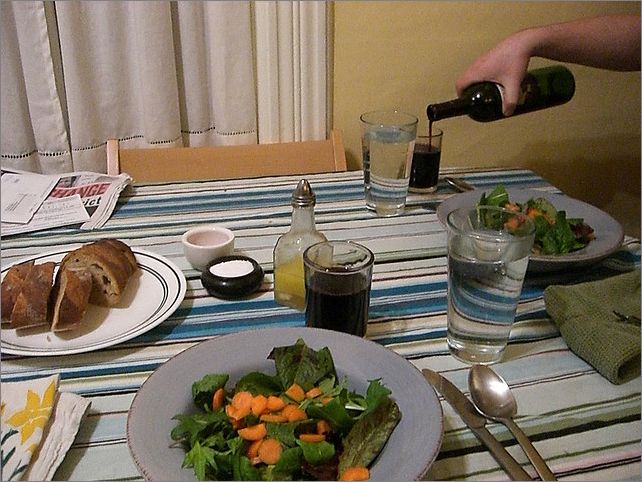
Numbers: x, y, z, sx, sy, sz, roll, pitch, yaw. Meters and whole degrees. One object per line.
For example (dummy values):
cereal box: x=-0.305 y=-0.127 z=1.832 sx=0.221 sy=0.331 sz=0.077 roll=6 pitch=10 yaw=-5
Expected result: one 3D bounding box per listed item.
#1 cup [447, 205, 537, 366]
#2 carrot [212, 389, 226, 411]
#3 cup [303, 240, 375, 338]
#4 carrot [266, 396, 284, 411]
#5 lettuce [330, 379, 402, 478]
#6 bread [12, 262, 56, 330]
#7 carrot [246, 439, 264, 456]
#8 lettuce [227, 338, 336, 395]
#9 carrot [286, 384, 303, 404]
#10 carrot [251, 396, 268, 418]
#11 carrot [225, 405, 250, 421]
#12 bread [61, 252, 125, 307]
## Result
cup: x=0.245 y=0.060 z=0.728 sx=0.115 sy=0.198 sz=0.156 roll=2 pitch=31 yaw=11
carrot: x=-0.122 y=0.193 z=0.591 sx=0.014 sy=0.007 sz=0.024 roll=24 pitch=65 yaw=-24
cup: x=0.028 y=0.077 z=0.734 sx=0.098 sy=0.139 sz=0.080 roll=-25 pitch=36 yaw=-31
carrot: x=-0.053 y=0.192 z=0.577 sx=0.022 sy=0.012 sz=0.017 roll=-9 pitch=31 yaw=-8
lettuce: x=0.053 y=0.215 z=0.541 sx=0.042 sy=0.051 sz=0.111 roll=14 pitch=35 yaw=28
bread: x=-0.453 y=0.087 z=0.771 sx=0.055 sy=0.058 sz=0.093 roll=-8 pitch=31 yaw=-7
carrot: x=-0.072 y=0.230 z=0.540 sx=0.005 sy=0.016 sz=0.016 roll=34 pitch=49 yaw=-26
lettuce: x=-0.033 y=0.162 z=0.614 sx=0.075 sy=0.032 sz=0.079 roll=-12 pitch=43 yaw=-21
carrot: x=-0.031 y=0.185 z=0.590 sx=0.017 sy=0.004 sz=0.017 roll=44 pitch=34 yaw=21
carrot: x=-0.071 y=0.193 z=0.569 sx=0.020 sy=0.010 sz=0.023 roll=-7 pitch=31 yaw=-5
carrot: x=-0.096 y=0.197 z=0.562 sx=0.018 sy=0.007 sz=0.018 roll=0 pitch=30 yaw=2
bread: x=-0.385 y=0.075 z=0.819 sx=0.096 sy=0.098 sz=0.024 roll=9 pitch=-5 yaw=7
